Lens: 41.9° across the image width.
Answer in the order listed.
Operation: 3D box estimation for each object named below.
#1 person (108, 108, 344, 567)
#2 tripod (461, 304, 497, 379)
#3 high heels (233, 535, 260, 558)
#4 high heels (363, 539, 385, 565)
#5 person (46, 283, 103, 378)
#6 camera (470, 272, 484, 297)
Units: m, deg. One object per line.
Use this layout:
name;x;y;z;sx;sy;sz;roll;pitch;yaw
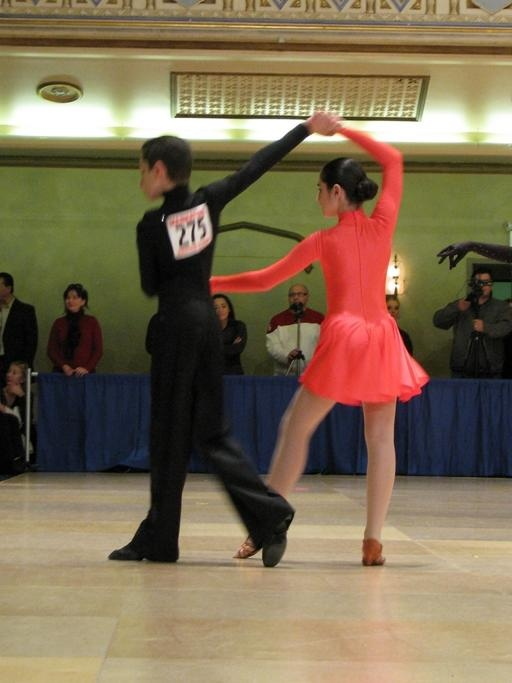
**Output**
person;-0.119;-0.007;2.054;0.597;1.407;0.356;3;10;3
tripod;2.241;0.135;6.653;0.323;0.481;0.657;6;9;19
high heels;-0.036;0.662;2.163;0.049;0.059;0.140;-43;-3;-23
high heels;0.370;0.661;2.101;0.070;0.082;0.128;4;9;9
person;-1.874;-0.124;6.875;0.525;0.894;0.754;-2;10;-24
camera;2.245;-0.554;6.825;0.124;0.201;0.174;5;10;17
